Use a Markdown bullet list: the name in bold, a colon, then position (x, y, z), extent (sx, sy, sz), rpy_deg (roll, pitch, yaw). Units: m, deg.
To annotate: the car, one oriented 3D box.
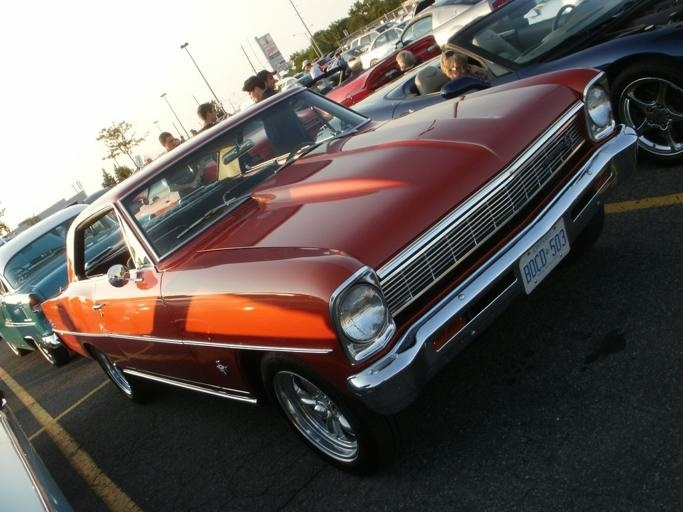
- **car**: position (-0.755, 0.247, 4.004), extent (4.386, 1.414, 2.513), rpy_deg (-6, 28, 48)
